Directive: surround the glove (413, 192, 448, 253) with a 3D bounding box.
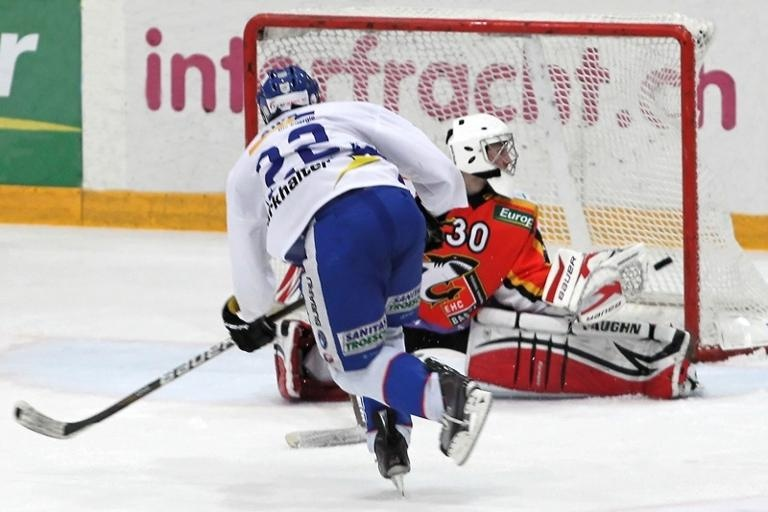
[{"bbox_3d":[0.273,-0.191,6.908,0.218,0.298,0.119,8,14,28],"label":"glove"}]

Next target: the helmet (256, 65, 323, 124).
[{"bbox_3d":[-0.536,-0.911,6.740,0.285,0.345,0.363,-21,1,-5],"label":"helmet"}]

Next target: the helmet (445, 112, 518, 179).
[{"bbox_3d":[0.661,-0.669,7.425,0.464,0.426,0.379,0,12,45],"label":"helmet"}]

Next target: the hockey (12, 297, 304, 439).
[{"bbox_3d":[-1.429,0.749,7.481,1.793,0.299,0.140,-25,7,-21],"label":"hockey"}]

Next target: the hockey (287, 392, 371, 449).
[{"bbox_3d":[-0.343,0.957,6.836,0.399,0.102,0.286,-7,0,-1],"label":"hockey"}]

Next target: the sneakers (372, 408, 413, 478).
[{"bbox_3d":[0.045,1.042,6.478,0.147,0.386,0.173,-4,-24,-4],"label":"sneakers"}]

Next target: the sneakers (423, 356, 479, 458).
[{"bbox_3d":[0.374,0.838,6.293,0.190,0.431,0.236,2,-32,-20],"label":"sneakers"}]

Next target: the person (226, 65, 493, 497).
[{"bbox_3d":[-0.201,0.021,6.486,1.458,2.129,0.622,1,4,1],"label":"person"}]
